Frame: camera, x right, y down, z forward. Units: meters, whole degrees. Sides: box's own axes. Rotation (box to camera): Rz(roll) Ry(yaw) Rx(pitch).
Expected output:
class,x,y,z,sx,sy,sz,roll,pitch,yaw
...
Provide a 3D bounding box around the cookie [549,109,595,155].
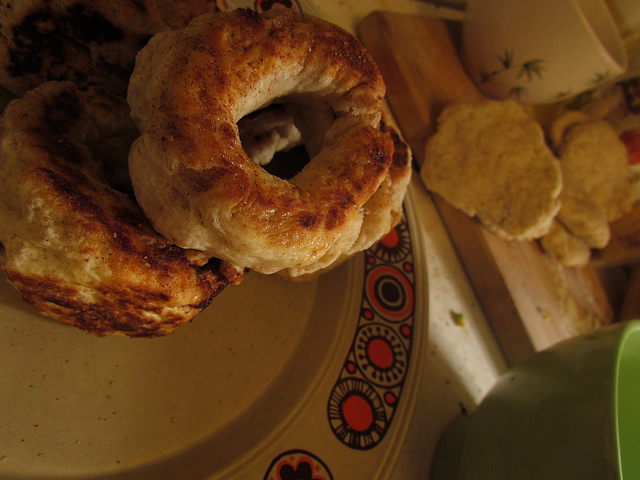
class,x,y,z,sx,sy,sz,roll,pitch,yaw
cookie,0.925,-0.410,2.491,0.157,0.171,0.061,1,-10,7
